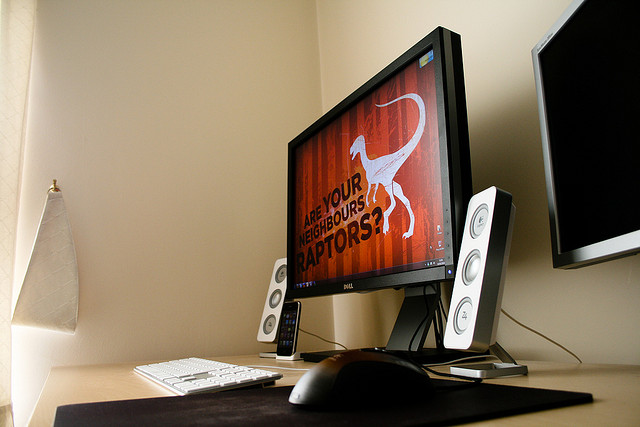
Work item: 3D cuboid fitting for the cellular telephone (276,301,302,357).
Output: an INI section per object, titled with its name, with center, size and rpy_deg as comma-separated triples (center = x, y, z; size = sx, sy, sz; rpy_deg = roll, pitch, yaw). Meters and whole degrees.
[cellular telephone]
center = -0.105, 0.386, 1.686
size = 0.064, 0.179, 0.078
rpy_deg = 9, -10, -16

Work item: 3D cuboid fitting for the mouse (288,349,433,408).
[mouse]
center = 0.077, 0.297, 0.976
size = 0.223, 0.075, 0.122
rpy_deg = 1, -11, -19

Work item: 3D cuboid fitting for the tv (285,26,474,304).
[tv]
center = 0.135, -0.075, 1.652
size = 0.096, 0.666, 0.892
rpy_deg = 7, -16, -30

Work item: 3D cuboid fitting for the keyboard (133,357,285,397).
[keyboard]
center = -0.298, 0.414, 1.283
size = 0.267, 0.076, 0.467
rpy_deg = 7, -18, -28
